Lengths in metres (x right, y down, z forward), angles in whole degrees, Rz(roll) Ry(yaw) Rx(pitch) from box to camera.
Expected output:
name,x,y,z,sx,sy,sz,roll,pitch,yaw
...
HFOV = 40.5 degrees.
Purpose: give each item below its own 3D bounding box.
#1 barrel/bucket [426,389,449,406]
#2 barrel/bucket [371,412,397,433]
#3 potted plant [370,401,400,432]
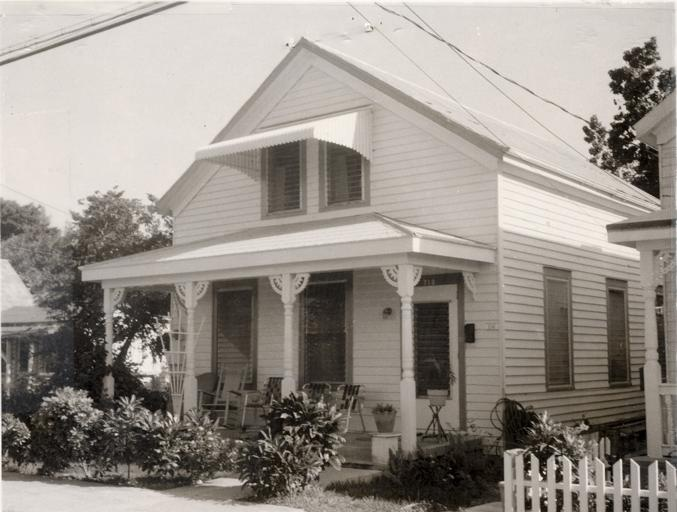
name,x,y,z,sx,sy,sz,roll,pitch,yaw
barrel/bucket,2.213,3.108,20.329,0.541,0.354,0.391,8,-15,-18
barrel/bucket,1.004,3.528,19.651,0.436,0.346,0.424,0,-11,0
potted plant,0.964,3.437,19.734,0.596,0.720,0.551,1,-10,-2
